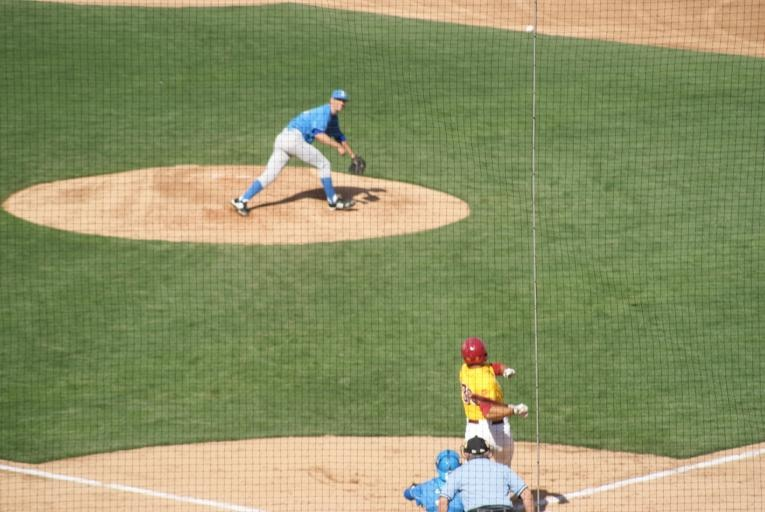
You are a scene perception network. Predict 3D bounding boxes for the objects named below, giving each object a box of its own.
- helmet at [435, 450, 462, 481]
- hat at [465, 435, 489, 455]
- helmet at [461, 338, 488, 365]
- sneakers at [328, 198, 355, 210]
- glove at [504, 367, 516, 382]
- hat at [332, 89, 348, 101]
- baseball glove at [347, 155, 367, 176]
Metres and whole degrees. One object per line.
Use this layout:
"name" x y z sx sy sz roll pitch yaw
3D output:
"helmet" 1.122 3.525 25.854 0.366 0.485 0.436 -1 83 1
"hat" 1.566 3.154 25.056 0.279 0.148 0.287 -12 28 -22
"helmet" 1.568 1.614 25.861 0.327 0.473 0.451 1 16 11
"sneakers" -0.770 -0.891 28.725 0.482 0.246 0.201 -4 17 -4
"glove" 2.138 2.038 25.936 0.213 0.305 0.114 4 78 -10
"hat" -0.792 -2.864 28.391 0.259 0.148 0.205 10 6 10
"baseball glove" -0.481 -1.594 28.743 0.333 0.155 0.284 2 70 -6
